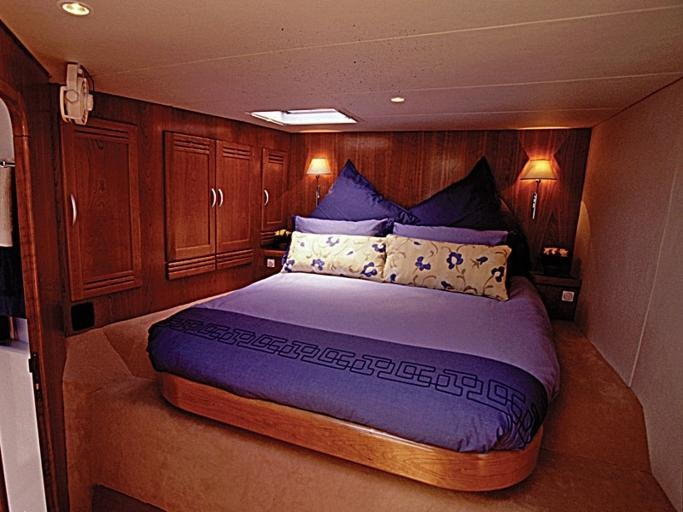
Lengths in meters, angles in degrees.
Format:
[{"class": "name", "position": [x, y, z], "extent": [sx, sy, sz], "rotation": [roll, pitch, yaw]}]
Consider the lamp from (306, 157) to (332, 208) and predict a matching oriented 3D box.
[{"class": "lamp", "position": [-0.267, -0.752, 5.254], "extent": [0.285, 0.662, 0.280], "rotation": [3, 10, 5]}]

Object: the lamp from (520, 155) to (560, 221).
[{"class": "lamp", "position": [1.831, -0.629, 4.345], "extent": [0.343, 0.584, 0.283], "rotation": [6, 6, 24]}]

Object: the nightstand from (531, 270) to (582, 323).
[{"class": "nightstand", "position": [1.947, 0.389, 4.301], "extent": [0.412, 0.413, 0.303], "rotation": [7, 16, 23]}]

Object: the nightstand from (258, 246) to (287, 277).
[{"class": "nightstand", "position": [-0.756, 0.019, 5.083], "extent": [0.388, 0.395, 0.268], "rotation": [3, 6, 21]}]
